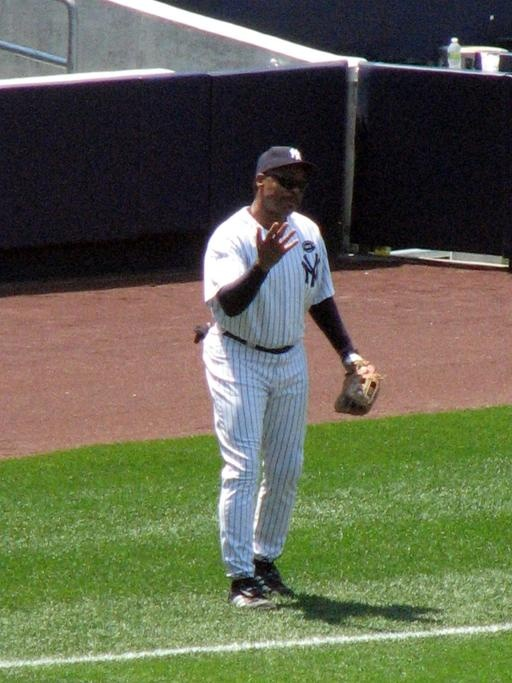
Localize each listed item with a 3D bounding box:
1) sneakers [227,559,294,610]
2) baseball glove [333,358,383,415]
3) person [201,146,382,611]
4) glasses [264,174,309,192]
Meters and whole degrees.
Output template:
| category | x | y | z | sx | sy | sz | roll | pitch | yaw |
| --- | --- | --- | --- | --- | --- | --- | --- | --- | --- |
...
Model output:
| category | x | y | z | sx | sy | sz | roll | pitch | yaw |
| --- | --- | --- | --- | --- | --- | --- | --- | --- | --- |
| sneakers | 0.014 | 1.063 | 6.460 | 0.124 | 0.165 | 0.369 | 2 | -15 | -21 |
| baseball glove | 0.456 | 0.209 | 6.719 | 0.226 | 0.258 | 0.144 | -4 | -15 | 41 |
| person | 0.080 | 0.157 | 6.522 | 0.556 | 1.966 | 0.795 | 12 | 18 | 40 |
| glasses | 0.132 | -0.686 | 6.440 | 0.180 | 0.083 | 0.079 | -1 | 14 | -6 |
